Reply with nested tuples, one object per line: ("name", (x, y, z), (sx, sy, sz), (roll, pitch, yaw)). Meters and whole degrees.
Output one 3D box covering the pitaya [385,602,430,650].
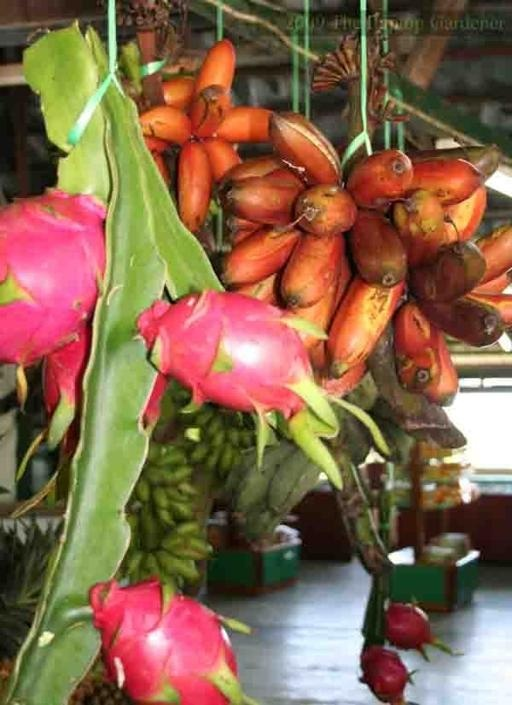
("pitaya", (0.138, 0.247, 0.733), (0.029, 0.049, 0.034), (-17, 42, 53))
